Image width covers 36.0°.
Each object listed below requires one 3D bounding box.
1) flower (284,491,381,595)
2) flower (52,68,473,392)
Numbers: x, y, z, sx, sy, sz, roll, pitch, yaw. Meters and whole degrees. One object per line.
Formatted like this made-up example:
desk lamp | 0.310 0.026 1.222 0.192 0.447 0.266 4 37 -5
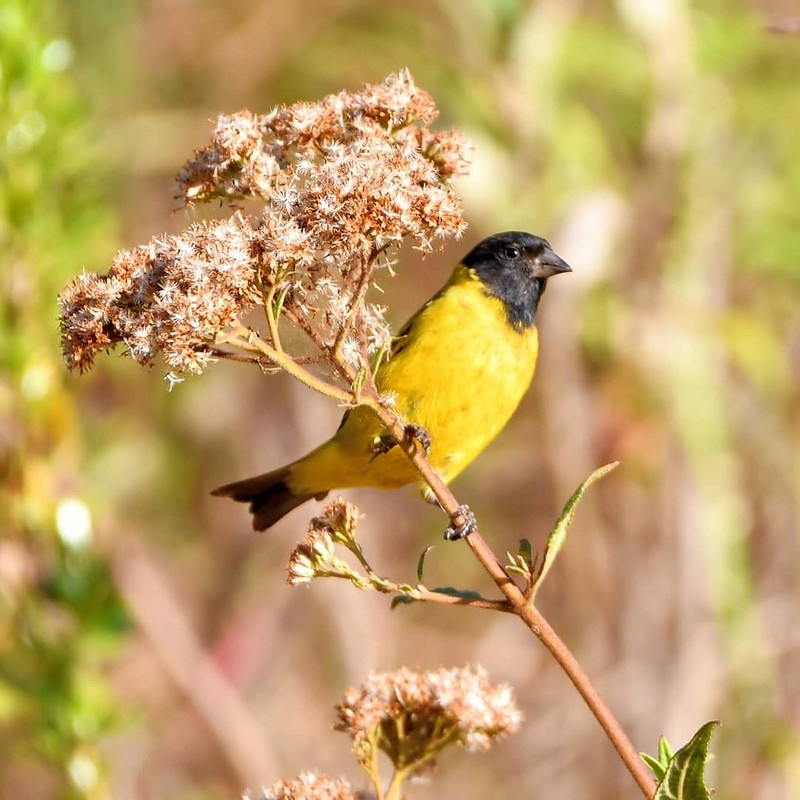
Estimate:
flower | -0.182 0.361 3.048 0.232 0.136 0.228 37 -101 -10
flower | -0.308 -0.418 3.037 0.844 0.561 0.782 -5 -84 -12
